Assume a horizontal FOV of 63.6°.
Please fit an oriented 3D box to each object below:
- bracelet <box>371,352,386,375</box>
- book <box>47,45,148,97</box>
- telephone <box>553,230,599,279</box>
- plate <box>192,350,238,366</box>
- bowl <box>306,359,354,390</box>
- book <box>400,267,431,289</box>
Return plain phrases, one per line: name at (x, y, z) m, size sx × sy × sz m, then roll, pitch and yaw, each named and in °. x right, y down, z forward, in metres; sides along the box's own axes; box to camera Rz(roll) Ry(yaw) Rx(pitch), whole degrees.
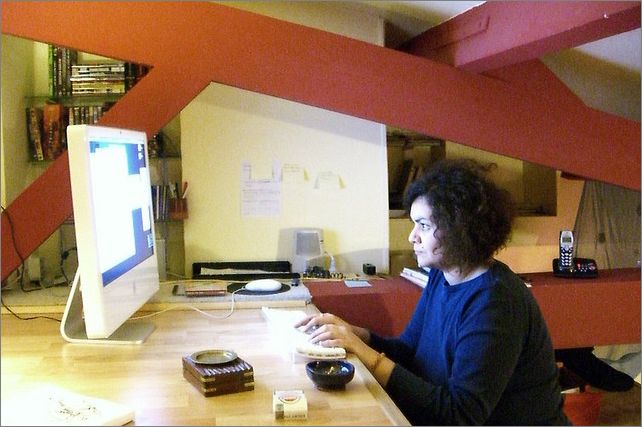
bracelet at (0.221, 0.570, 1.975) m, size 0.015 × 0.057 × 0.059 m, roll 26°, pitch -21°, yaw 3°
book at (-1.524, -0.960, 3.526) m, size 0.632 × 0.327 × 0.167 m, roll 2°, pitch 12°, yaw 7°
telephone at (1.542, 0.251, 3.253) m, size 0.283 × 0.289 × 0.277 m, roll 0°, pitch -3°, yaw 4°
plate at (-0.393, 0.525, 1.901) m, size 0.172 × 0.021 × 0.099 m, roll -2°, pitch 13°, yaw -12°
bowl at (0.036, 0.582, 1.875) m, size 0.170 × 0.062 × 0.171 m, roll 1°, pitch 5°, yaw 0°
book at (0.601, 0.389, 3.230) m, size 0.135 × 0.032 × 0.131 m, roll 9°, pitch 8°, yaw -32°
